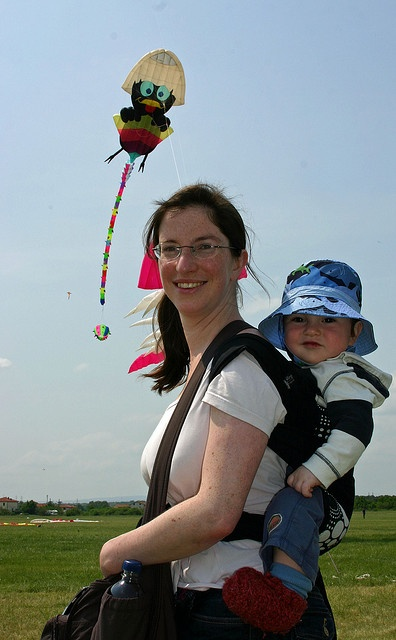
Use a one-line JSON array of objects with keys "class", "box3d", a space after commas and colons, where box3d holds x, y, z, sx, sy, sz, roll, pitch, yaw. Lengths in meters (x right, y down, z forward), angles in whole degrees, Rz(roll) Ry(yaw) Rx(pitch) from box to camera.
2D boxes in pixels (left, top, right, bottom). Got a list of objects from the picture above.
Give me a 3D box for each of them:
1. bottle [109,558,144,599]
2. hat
[{"class": "bottle", "box3d": [-0.265, 0.945, 2.374, 0.117, 0.132, 0.086, 2, -3, -5]}, {"class": "hat", "box3d": [0.648, -0.108, 3.469, 0.688, 0.418, 0.637, 5, -28, 2]}]
